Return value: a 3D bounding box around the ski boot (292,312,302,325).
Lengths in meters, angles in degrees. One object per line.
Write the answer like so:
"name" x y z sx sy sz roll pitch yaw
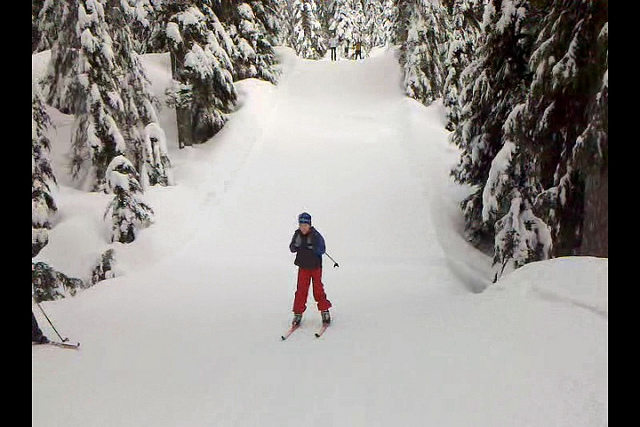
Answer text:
"ski boot" -0.497 2.279 13.355 0.105 0.279 0.351 3 5 7

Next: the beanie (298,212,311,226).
"beanie" -0.314 0.106 12.881 0.162 0.241 0.244 4 17 4

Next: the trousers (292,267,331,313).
"trousers" -0.140 1.672 13.246 0.856 0.411 1.457 -3 31 1

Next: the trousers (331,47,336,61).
"trousers" 0.777 -9.507 36.366 0.181 0.581 0.329 -4 18 -10

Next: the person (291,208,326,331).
"person" -0.280 1.184 13.430 0.717 2.677 1.194 -2 17 -2

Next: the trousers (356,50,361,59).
"trousers" 2.122 -9.128 35.121 0.246 0.458 0.797 -3 20 -5
